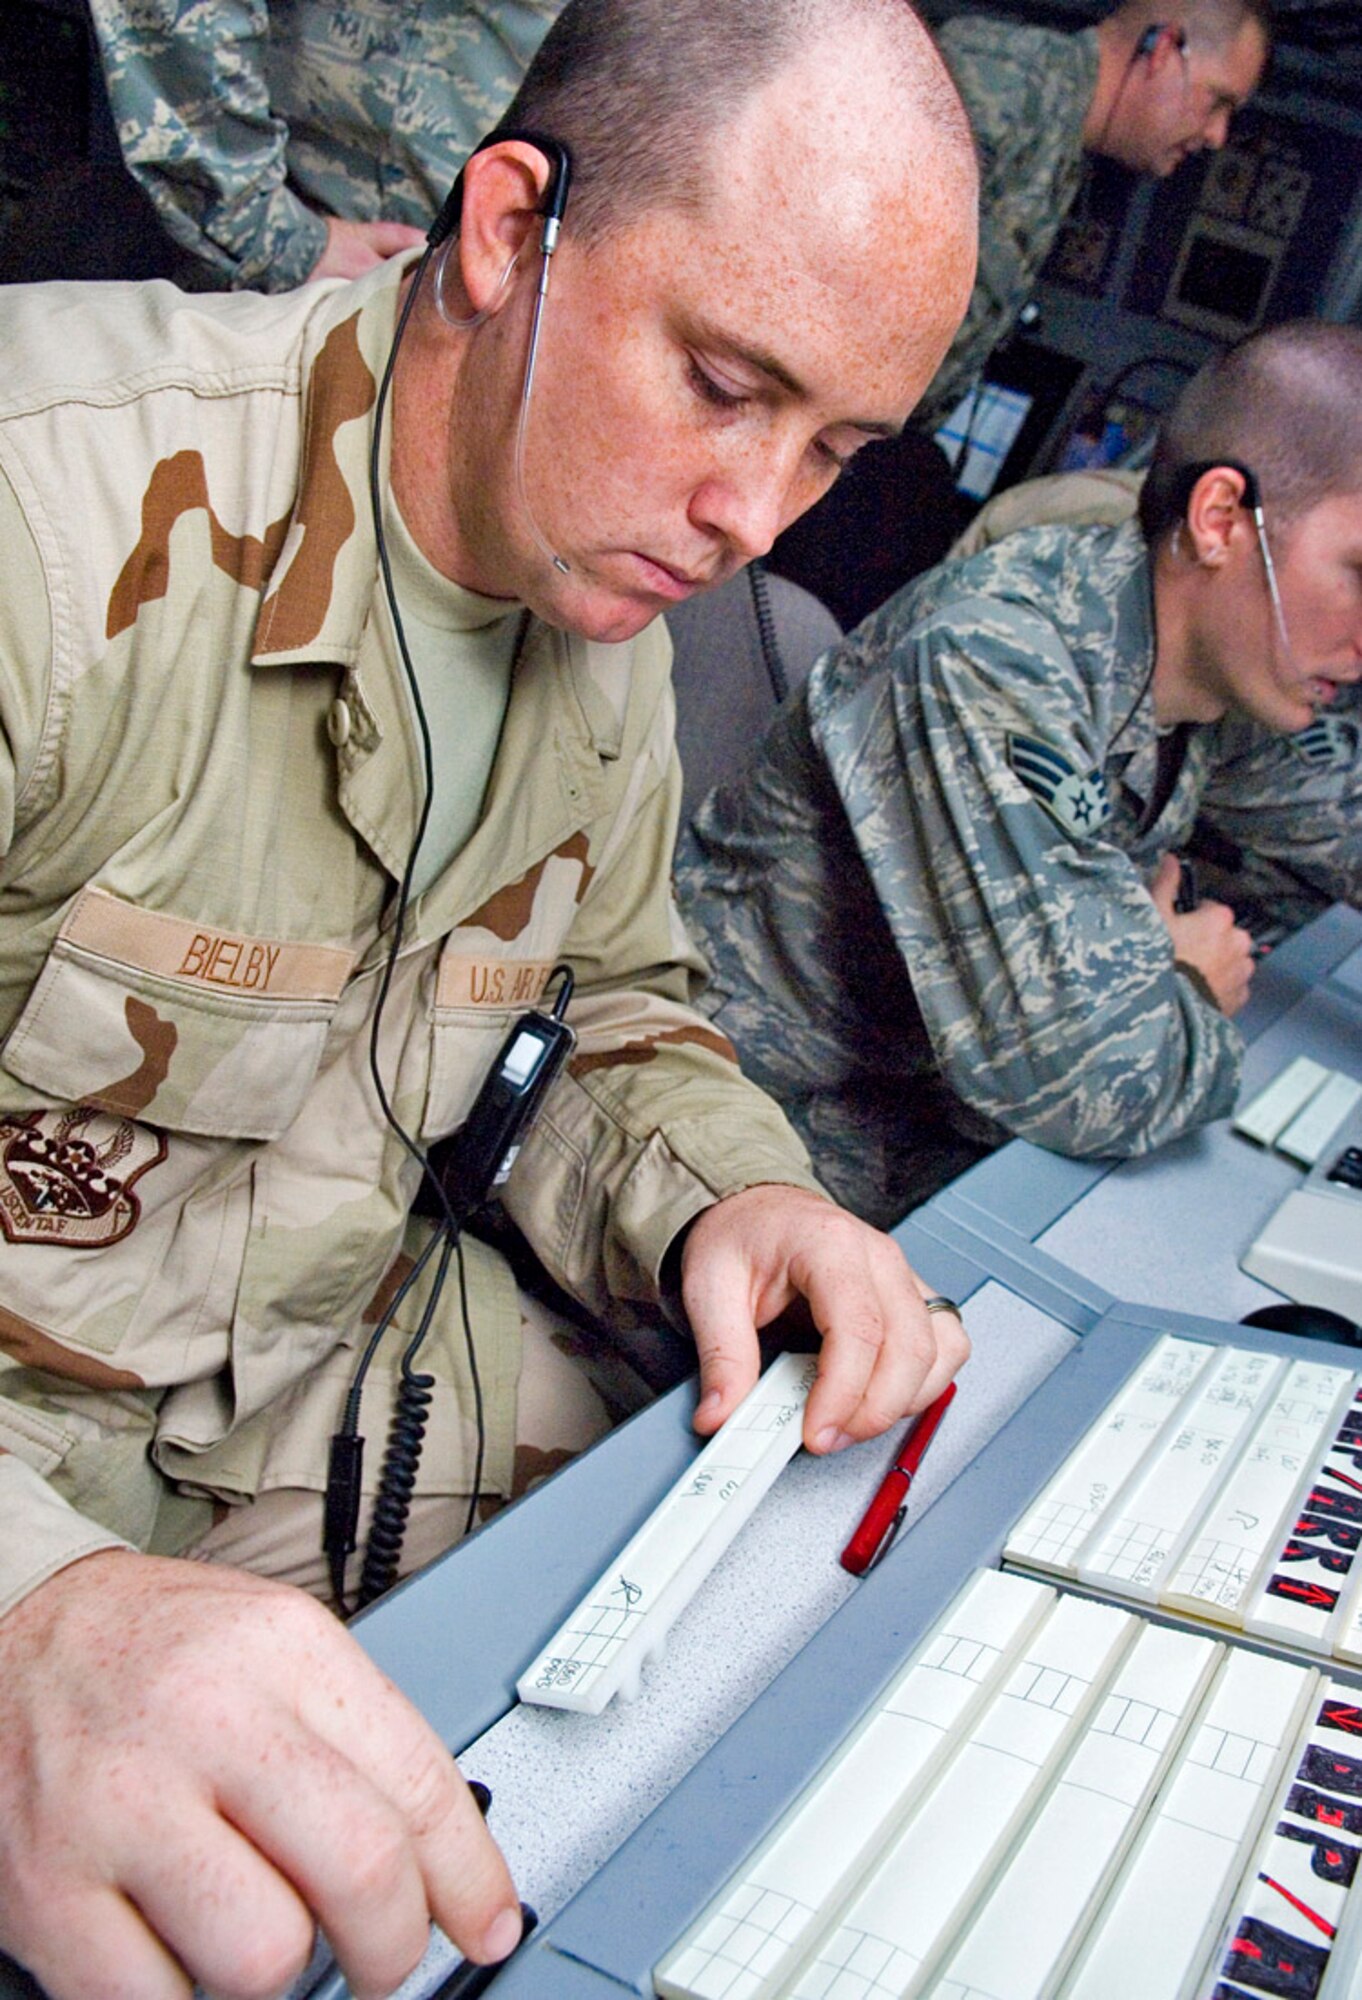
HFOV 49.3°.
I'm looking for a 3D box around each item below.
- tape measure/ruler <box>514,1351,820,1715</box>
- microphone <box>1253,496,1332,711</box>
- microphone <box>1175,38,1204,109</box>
[{"bbox_3d":[0.014,0.238,0.690,0.046,0.035,0.271,1,14,29],"label":"tape measure/ruler"},{"bbox_3d":[0.642,-0.423,1.558,0.037,0.265,0.031,-13,19,16],"label":"microphone"},{"bbox_3d":[0.782,-1.442,2.280,0.040,0.055,0.015,14,11,31],"label":"microphone"}]
